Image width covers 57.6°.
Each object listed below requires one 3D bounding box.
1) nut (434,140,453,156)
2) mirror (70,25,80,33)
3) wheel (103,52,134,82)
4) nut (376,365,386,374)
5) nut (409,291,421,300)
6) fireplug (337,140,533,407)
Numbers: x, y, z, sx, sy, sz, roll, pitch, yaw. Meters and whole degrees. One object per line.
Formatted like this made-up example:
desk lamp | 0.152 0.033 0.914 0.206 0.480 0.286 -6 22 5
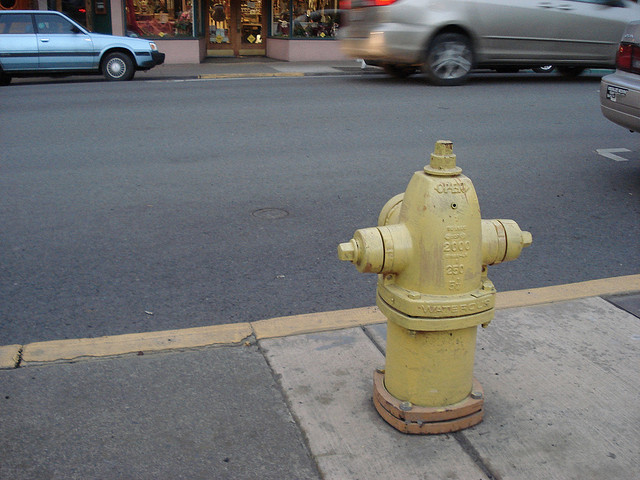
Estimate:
nut | 0.677 -0.487 3.091 0.116 0.074 0.099 2 7 -5
mirror | -6.489 -5.594 15.448 0.223 0.174 0.120 -10 27 -17
wheel | -5.444 -4.696 15.690 0.819 0.667 0.258 22 23 -7
nut | 0.373 0.797 3.558 0.035 0.033 0.090 0 -1 2
nut | 0.498 0.294 3.057 0.043 0.023 0.042 -1 5 -31
fireplug | 0.551 0.247 3.443 1.356 1.477 0.943 2 8 -9
